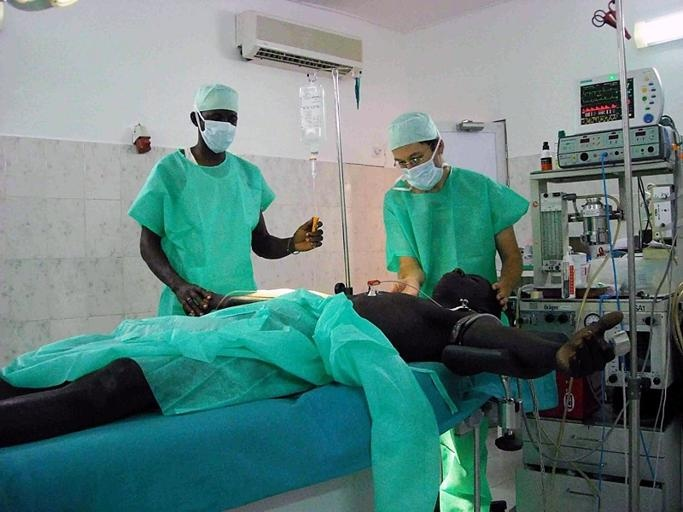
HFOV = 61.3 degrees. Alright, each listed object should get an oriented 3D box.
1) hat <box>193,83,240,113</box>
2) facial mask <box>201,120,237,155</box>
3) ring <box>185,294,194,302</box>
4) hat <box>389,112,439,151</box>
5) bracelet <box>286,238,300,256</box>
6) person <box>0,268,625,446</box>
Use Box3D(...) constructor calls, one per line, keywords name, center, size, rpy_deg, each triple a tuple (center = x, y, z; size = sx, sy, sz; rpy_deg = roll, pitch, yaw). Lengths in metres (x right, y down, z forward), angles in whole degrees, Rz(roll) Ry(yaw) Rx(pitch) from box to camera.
Box3D(name="hat", center=(-0.581, -0.737, 2.736), size=(0.151, 0.094, 0.157), rpy_deg=(1, 18, 0))
Box3D(name="facial mask", center=(-0.562, -0.556, 2.671), size=(0.124, 0.095, 0.142), rpy_deg=(-5, 31, -33))
Box3D(name="ring", center=(-0.617, 0.170, 2.348), size=(0.018, 0.019, 0.006), rpy_deg=(-44, -21, 12))
Box3D(name="hat", center=(0.317, -0.601, 2.625), size=(0.180, 0.118, 0.187), rpy_deg=(-10, 16, 22))
Box3D(name="bracelet", center=(-0.238, -0.040, 2.817), size=(0.064, 0.122, 0.092), rpy_deg=(1, 0, 13))
Box3D(name="person", center=(-0.125, 0.322, 1.724), size=(1.141, 0.200, 0.736), rpy_deg=(-8, 6, -24))
